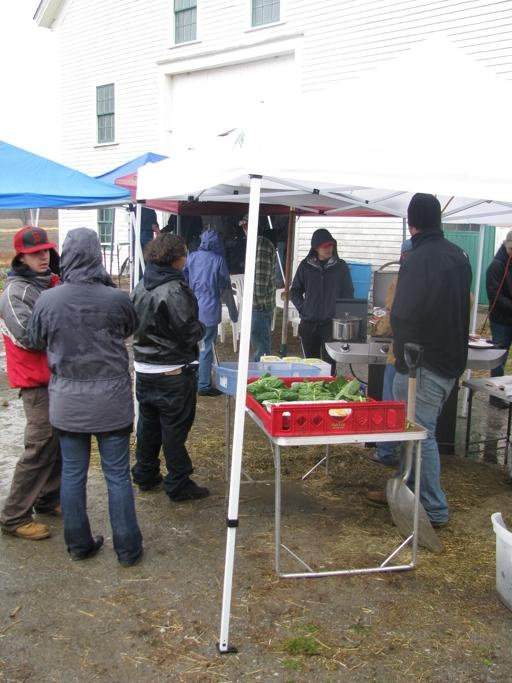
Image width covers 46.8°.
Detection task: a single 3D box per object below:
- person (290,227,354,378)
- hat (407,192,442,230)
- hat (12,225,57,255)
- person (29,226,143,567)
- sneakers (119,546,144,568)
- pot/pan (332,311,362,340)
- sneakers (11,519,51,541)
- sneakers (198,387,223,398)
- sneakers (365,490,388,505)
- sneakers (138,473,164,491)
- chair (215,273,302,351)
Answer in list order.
[{"bbox_3d":[0.619,-0.429,5.884,0.659,1.340,0.436,9,11,40],"label":"person"},{"bbox_3d":[0.949,-0.728,3.312,0.212,0.220,0.235,5,13,19],"label":"hat"},{"bbox_3d":[-1.151,-0.533,3.090,0.195,0.108,0.143,8,21,31],"label":"hat"},{"bbox_3d":[-0.815,0.286,2.859,0.522,1.651,0.328,-2,9,-21],"label":"person"},{"bbox_3d":[-0.634,1.085,2.989,0.056,0.051,0.126,3,9,16],"label":"sneakers"},{"bbox_3d":[0.712,-0.113,4.741,0.171,0.174,0.216,7,12,32],"label":"pot/pan"},{"bbox_3d":[-1.205,1.013,3.196,0.201,0.088,0.091,-2,7,-4],"label":"sneakers"},{"bbox_3d":[-0.498,0.546,6.390,0.211,0.081,0.100,-3,5,4],"label":"sneakers"},{"bbox_3d":[0.771,0.991,3.792,0.057,0.061,0.152,0,8,-43],"label":"sneakers"},{"bbox_3d":[-0.706,0.934,3.962,0.066,0.078,0.185,9,13,41],"label":"sneakers"},{"bbox_3d":[-0.020,-0.432,9.245,1.232,0.757,1.173,1,1,-1],"label":"chair"}]
